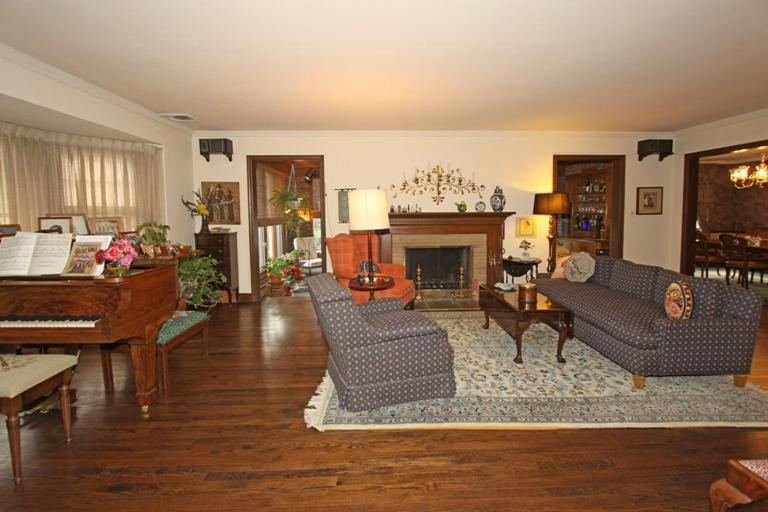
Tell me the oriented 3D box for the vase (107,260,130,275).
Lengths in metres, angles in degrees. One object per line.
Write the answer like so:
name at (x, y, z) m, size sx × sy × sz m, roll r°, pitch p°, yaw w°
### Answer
vase at (-2.628, 0.120, 5.174) m, size 0.197 × 0.100 × 0.176 m, roll 0°, pitch -3°, yaw -10°

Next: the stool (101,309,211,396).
stool at (-2.602, 1.085, 6.117) m, size 0.894 × 0.452 × 1.112 m, roll -8°, pitch 10°, yaw 6°

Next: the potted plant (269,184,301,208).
potted plant at (-2.059, -1.246, 11.014) m, size 0.611 × 0.305 × 0.534 m, roll 0°, pitch 0°, yaw -23°

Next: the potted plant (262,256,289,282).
potted plant at (-2.078, 0.265, 10.356) m, size 0.576 × 0.414 × 0.564 m, roll 7°, pitch 11°, yaw 39°

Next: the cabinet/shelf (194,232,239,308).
cabinet/shelf at (-2.808, 0.183, 8.899) m, size 0.599 × 1.269 × 0.530 m, roll -2°, pitch 9°, yaw -2°

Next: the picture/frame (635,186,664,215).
picture/frame at (4.743, -1.028, 9.402) m, size 0.726 × 0.569 × 0.034 m, roll 2°, pitch 0°, yaw -5°

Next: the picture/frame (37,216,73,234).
picture/frame at (-4.108, -0.392, 6.536) m, size 0.531 × 0.041 × 0.409 m, roll -2°, pitch 41°, yaw -22°

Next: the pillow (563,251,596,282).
pillow at (2.889, 0.166, 7.741) m, size 0.118 × 0.388 × 0.475 m, roll 25°, pitch -27°, yaw -39°

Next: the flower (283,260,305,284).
flower at (-1.807, 0.333, 10.455) m, size 0.462 × 0.396 × 0.346 m, roll 16°, pitch 24°, yaw 26°

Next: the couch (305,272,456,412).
couch at (-0.105, 0.882, 5.941) m, size 1.638 × 1.081 × 1.375 m, roll -1°, pitch 9°, yaw -22°

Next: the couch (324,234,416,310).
couch at (-0.311, 0.192, 7.775) m, size 1.584 × 1.216 × 1.208 m, roll 0°, pitch 3°, yaw 8°

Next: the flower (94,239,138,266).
flower at (-2.639, -0.035, 5.230) m, size 0.350 × 0.185 × 0.333 m, roll -1°, pitch -1°, yaw -39°

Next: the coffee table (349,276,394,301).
coffee table at (-0.135, 0.378, 6.630) m, size 0.489 × 0.229 × 0.414 m, roll -1°, pitch 5°, yaw -14°
